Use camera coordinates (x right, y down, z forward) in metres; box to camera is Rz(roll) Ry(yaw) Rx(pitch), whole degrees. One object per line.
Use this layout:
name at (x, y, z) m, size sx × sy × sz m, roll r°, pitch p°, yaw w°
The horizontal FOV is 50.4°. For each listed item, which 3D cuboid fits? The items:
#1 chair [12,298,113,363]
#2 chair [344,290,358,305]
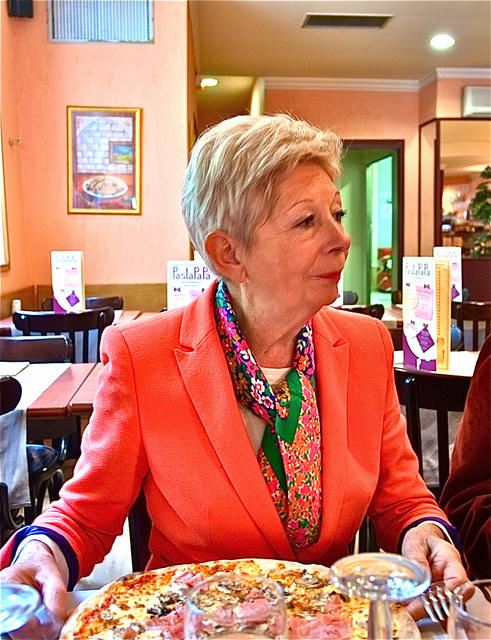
chair at (-0.880, 0.054, 2.533) m, size 0.299 × 0.414 × 0.286 m, roll -1°, pitch 35°, yaw -9°
chair at (1.226, -0.253, 6.102) m, size 0.149 × 0.188 × 0.160 m, roll 7°, pitch 19°, yaw 21°
